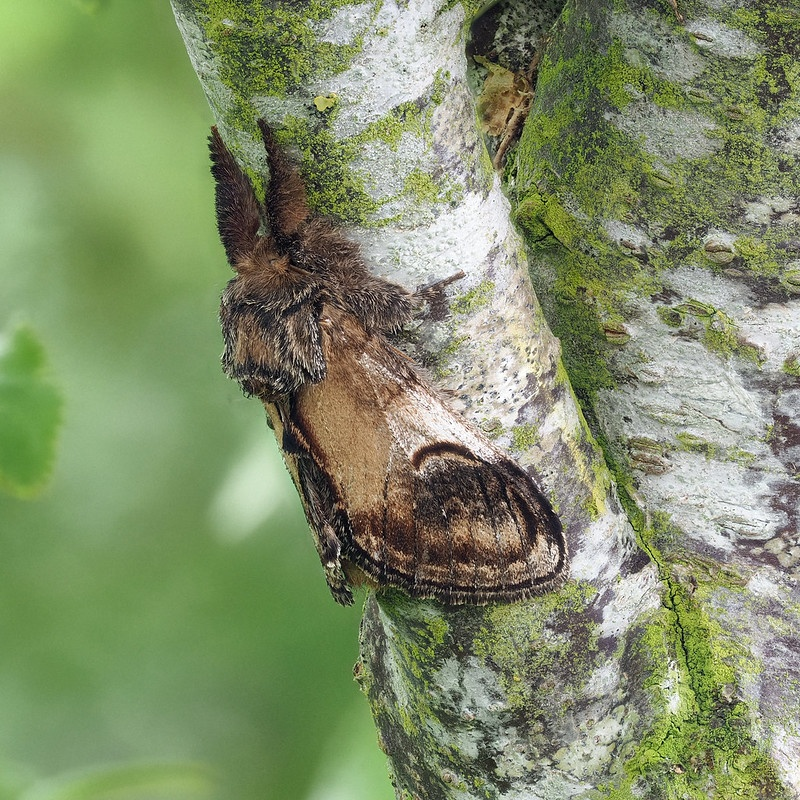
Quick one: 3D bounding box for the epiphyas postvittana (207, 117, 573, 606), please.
[{"bbox_3d":[-0.015,0.015,1.482,0.275,0.629,0.269,-24,3,26],"label":"epiphyas postvittana"}]
